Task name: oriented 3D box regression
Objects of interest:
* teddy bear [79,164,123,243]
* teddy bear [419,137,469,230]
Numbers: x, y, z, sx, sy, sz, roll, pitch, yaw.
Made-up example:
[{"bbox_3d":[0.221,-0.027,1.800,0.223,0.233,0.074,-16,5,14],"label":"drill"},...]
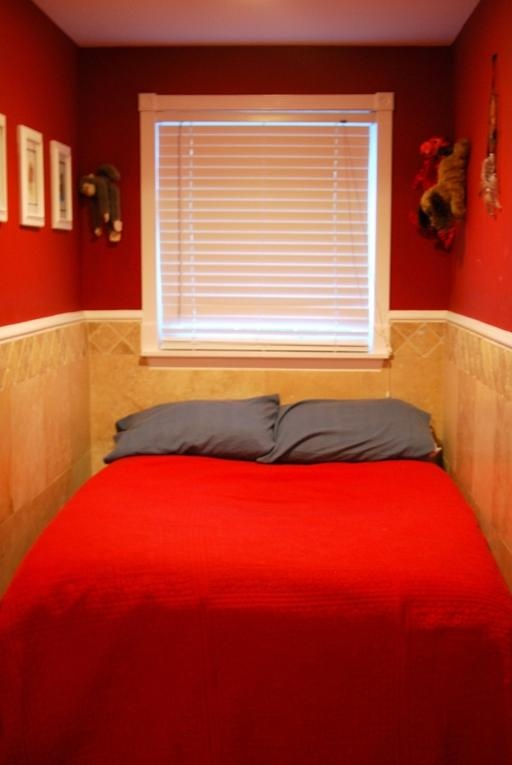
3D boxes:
[{"bbox_3d":[-0.704,-0.804,2.610,0.157,0.358,0.105,1,7,26],"label":"teddy bear"},{"bbox_3d":[0.766,-0.763,2.264,0.117,0.344,0.189,14,4,33],"label":"teddy bear"}]
